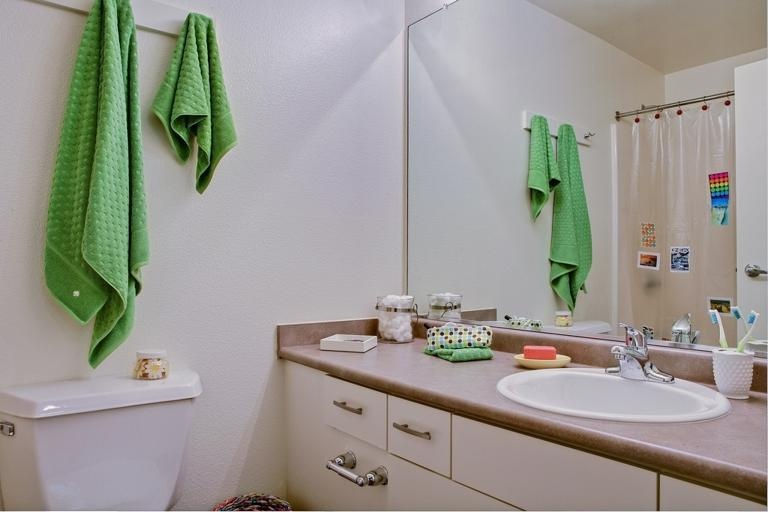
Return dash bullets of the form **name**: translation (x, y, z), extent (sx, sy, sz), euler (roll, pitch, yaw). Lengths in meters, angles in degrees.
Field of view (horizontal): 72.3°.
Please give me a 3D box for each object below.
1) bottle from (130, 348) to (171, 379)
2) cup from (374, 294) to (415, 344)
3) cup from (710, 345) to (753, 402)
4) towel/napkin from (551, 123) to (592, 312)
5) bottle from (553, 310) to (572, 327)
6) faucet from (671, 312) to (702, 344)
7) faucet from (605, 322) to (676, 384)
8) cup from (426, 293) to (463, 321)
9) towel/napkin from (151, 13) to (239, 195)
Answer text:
- **bottle**: translation (-0.849, 0.382, 1.919), extent (0.107, 0.093, 0.107), euler (2, -4, -28)
- **cup**: translation (0.062, 0.300, 2.538), extent (0.206, 0.214, 0.214), euler (1, -3, 0)
- **cup**: translation (1.077, 0.352, 1.616), extent (0.136, 0.162, 0.136), euler (1, 0, 0)
- **towel/napkin**: translation (0.750, -0.158, 2.110), extent (0.036, 0.745, 0.185), euler (-1, 0, -33)
- **bottle**: translation (0.725, 0.251, 2.123), extent (0.060, 0.061, 0.062), euler (-2, 3, -26)
- **faucet**: translation (1.051, 0.257, 1.804), extent (0.069, 0.106, 0.102), euler (-4, -4, 40)
- **faucet**: translation (0.856, 0.329, 1.774), extent (0.073, 0.183, 0.227), euler (-1, -3, -37)
- **cup**: translation (0.290, 0.240, 2.525), extent (0.129, 0.133, 0.126), euler (2, -3, 0)
- **towel/napkin**: translation (-0.751, -0.651, 2.099), extent (0.331, 0.789, 0.132), euler (6, -18, -29)
